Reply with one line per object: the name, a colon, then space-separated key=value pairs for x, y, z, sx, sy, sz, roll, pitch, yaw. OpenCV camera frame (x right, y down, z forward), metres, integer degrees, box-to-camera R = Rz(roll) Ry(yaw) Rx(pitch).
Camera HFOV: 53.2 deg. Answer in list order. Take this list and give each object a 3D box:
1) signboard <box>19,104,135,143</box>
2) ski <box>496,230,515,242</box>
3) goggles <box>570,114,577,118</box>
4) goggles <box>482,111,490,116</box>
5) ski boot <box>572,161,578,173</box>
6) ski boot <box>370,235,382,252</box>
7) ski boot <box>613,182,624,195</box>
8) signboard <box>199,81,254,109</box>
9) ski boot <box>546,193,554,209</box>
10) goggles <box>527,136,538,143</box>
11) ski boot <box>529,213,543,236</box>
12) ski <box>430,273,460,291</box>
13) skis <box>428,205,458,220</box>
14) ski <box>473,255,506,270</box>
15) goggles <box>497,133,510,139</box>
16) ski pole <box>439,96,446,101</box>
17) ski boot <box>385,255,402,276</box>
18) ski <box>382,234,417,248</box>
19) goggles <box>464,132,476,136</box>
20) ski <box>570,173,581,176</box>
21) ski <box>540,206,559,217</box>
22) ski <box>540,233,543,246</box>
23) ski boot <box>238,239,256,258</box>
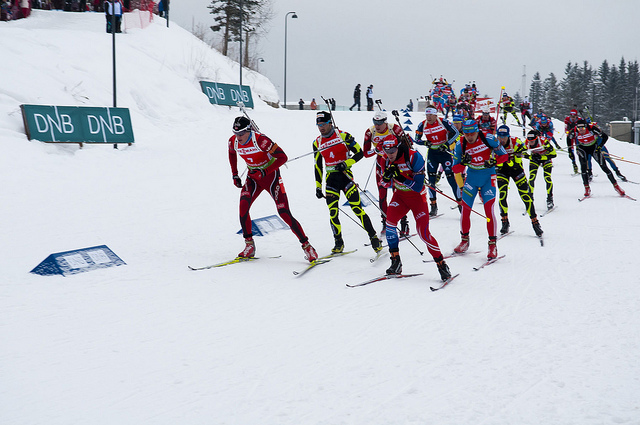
signboard: x=-6.229 y=-2.274 z=16.596 sx=0.355 sy=1.222 sz=2.881 roll=10 pitch=18 yaw=37
ski: x=3.846 y=0.513 z=13.299 sx=0.040 sy=0.085 sz=0.629 roll=4 pitch=23 yaw=45
goggles: x=7.119 y=-2.709 z=17.925 sx=0.231 sy=0.101 sz=0.094 roll=-5 pitch=15 yaw=-15
goggles: x=4.147 y=-2.463 z=15.994 sx=0.139 sy=0.092 sz=0.159 roll=1 pitch=15 yaw=8
ski boot: x=8.308 y=-1.473 z=20.823 sx=0.158 sy=0.337 sz=0.395 roll=2 pitch=15 yaw=10
ski boot: x=1.064 y=0.604 z=12.179 sx=0.217 sy=0.293 sz=0.127 roll=-11 pitch=6 yaw=9
ski boot: x=8.073 y=-0.623 z=17.343 sx=0.120 sy=0.398 sz=0.139 roll=-37 pitch=-23 yaw=-2
signboard: x=-3.964 y=-4.989 z=27.206 sx=0.674 sy=1.367 sz=3.946 roll=3 pitch=15 yaw=16
ski boot: x=5.683 y=-0.279 z=15.802 sx=0.155 sy=0.314 sz=0.467 roll=4 pitch=15 yaw=19
goggles: x=5.220 y=-1.792 z=15.810 sx=0.252 sy=0.129 sz=0.165 roll=10 pitch=18 yaw=35
ski boot: x=4.508 y=0.266 z=13.247 sx=0.257 sy=0.408 sz=0.332 roll=-6 pitch=15 yaw=-20
ski: x=2.114 y=1.206 z=10.829 sx=0.050 sy=0.070 sz=0.509 roll=32 pitch=40 yaw=23
skis: x=2.929 y=0.034 z=15.328 sx=0.126 sy=0.179 sz=1.263 roll=23 pitch=23 yaw=39
ski: x=3.092 y=0.945 z=11.660 sx=0.069 sy=0.072 sz=0.671 roll=22 pitch=26 yaw=30
goggles: x=3.832 y=-1.587 z=13.402 sx=0.245 sy=0.104 sz=0.177 roll=2 pitch=15 yaw=9
ski pole: x=5.254 y=-4.941 z=27.591 sx=0.363 sy=0.050 sz=0.058 roll=38 pitch=30 yaw=-17
ski boot: x=1.286 y=0.933 z=11.196 sx=0.337 sy=0.374 sz=0.140 roll=-5 pitch=15 yaw=-14
ski: x=1.505 y=0.569 z=12.255 sx=0.067 sy=0.117 sz=0.907 roll=30 pitch=36 yaw=31
goggles: x=2.847 y=-1.485 z=12.187 sx=0.175 sy=0.051 sz=0.042 roll=2 pitch=15 yaw=11
ski: x=8.495 y=-1.259 z=21.278 sx=0.435 sy=0.070 sz=0.030 roll=-1 pitch=1 yaw=-28
ski: x=5.524 y=0.016 z=15.462 sx=0.131 sy=0.123 sz=1.249 roll=25 pitch=20 yaw=25
ski: x=4.452 y=0.582 z=12.913 sx=0.065 sy=0.066 sz=0.607 roll=9 pitch=22 yaw=13
ski boot: x=-1.411 y=0.714 z=12.156 sx=0.320 sy=0.350 sz=0.203 roll=-4 pitch=15 yaw=-11
